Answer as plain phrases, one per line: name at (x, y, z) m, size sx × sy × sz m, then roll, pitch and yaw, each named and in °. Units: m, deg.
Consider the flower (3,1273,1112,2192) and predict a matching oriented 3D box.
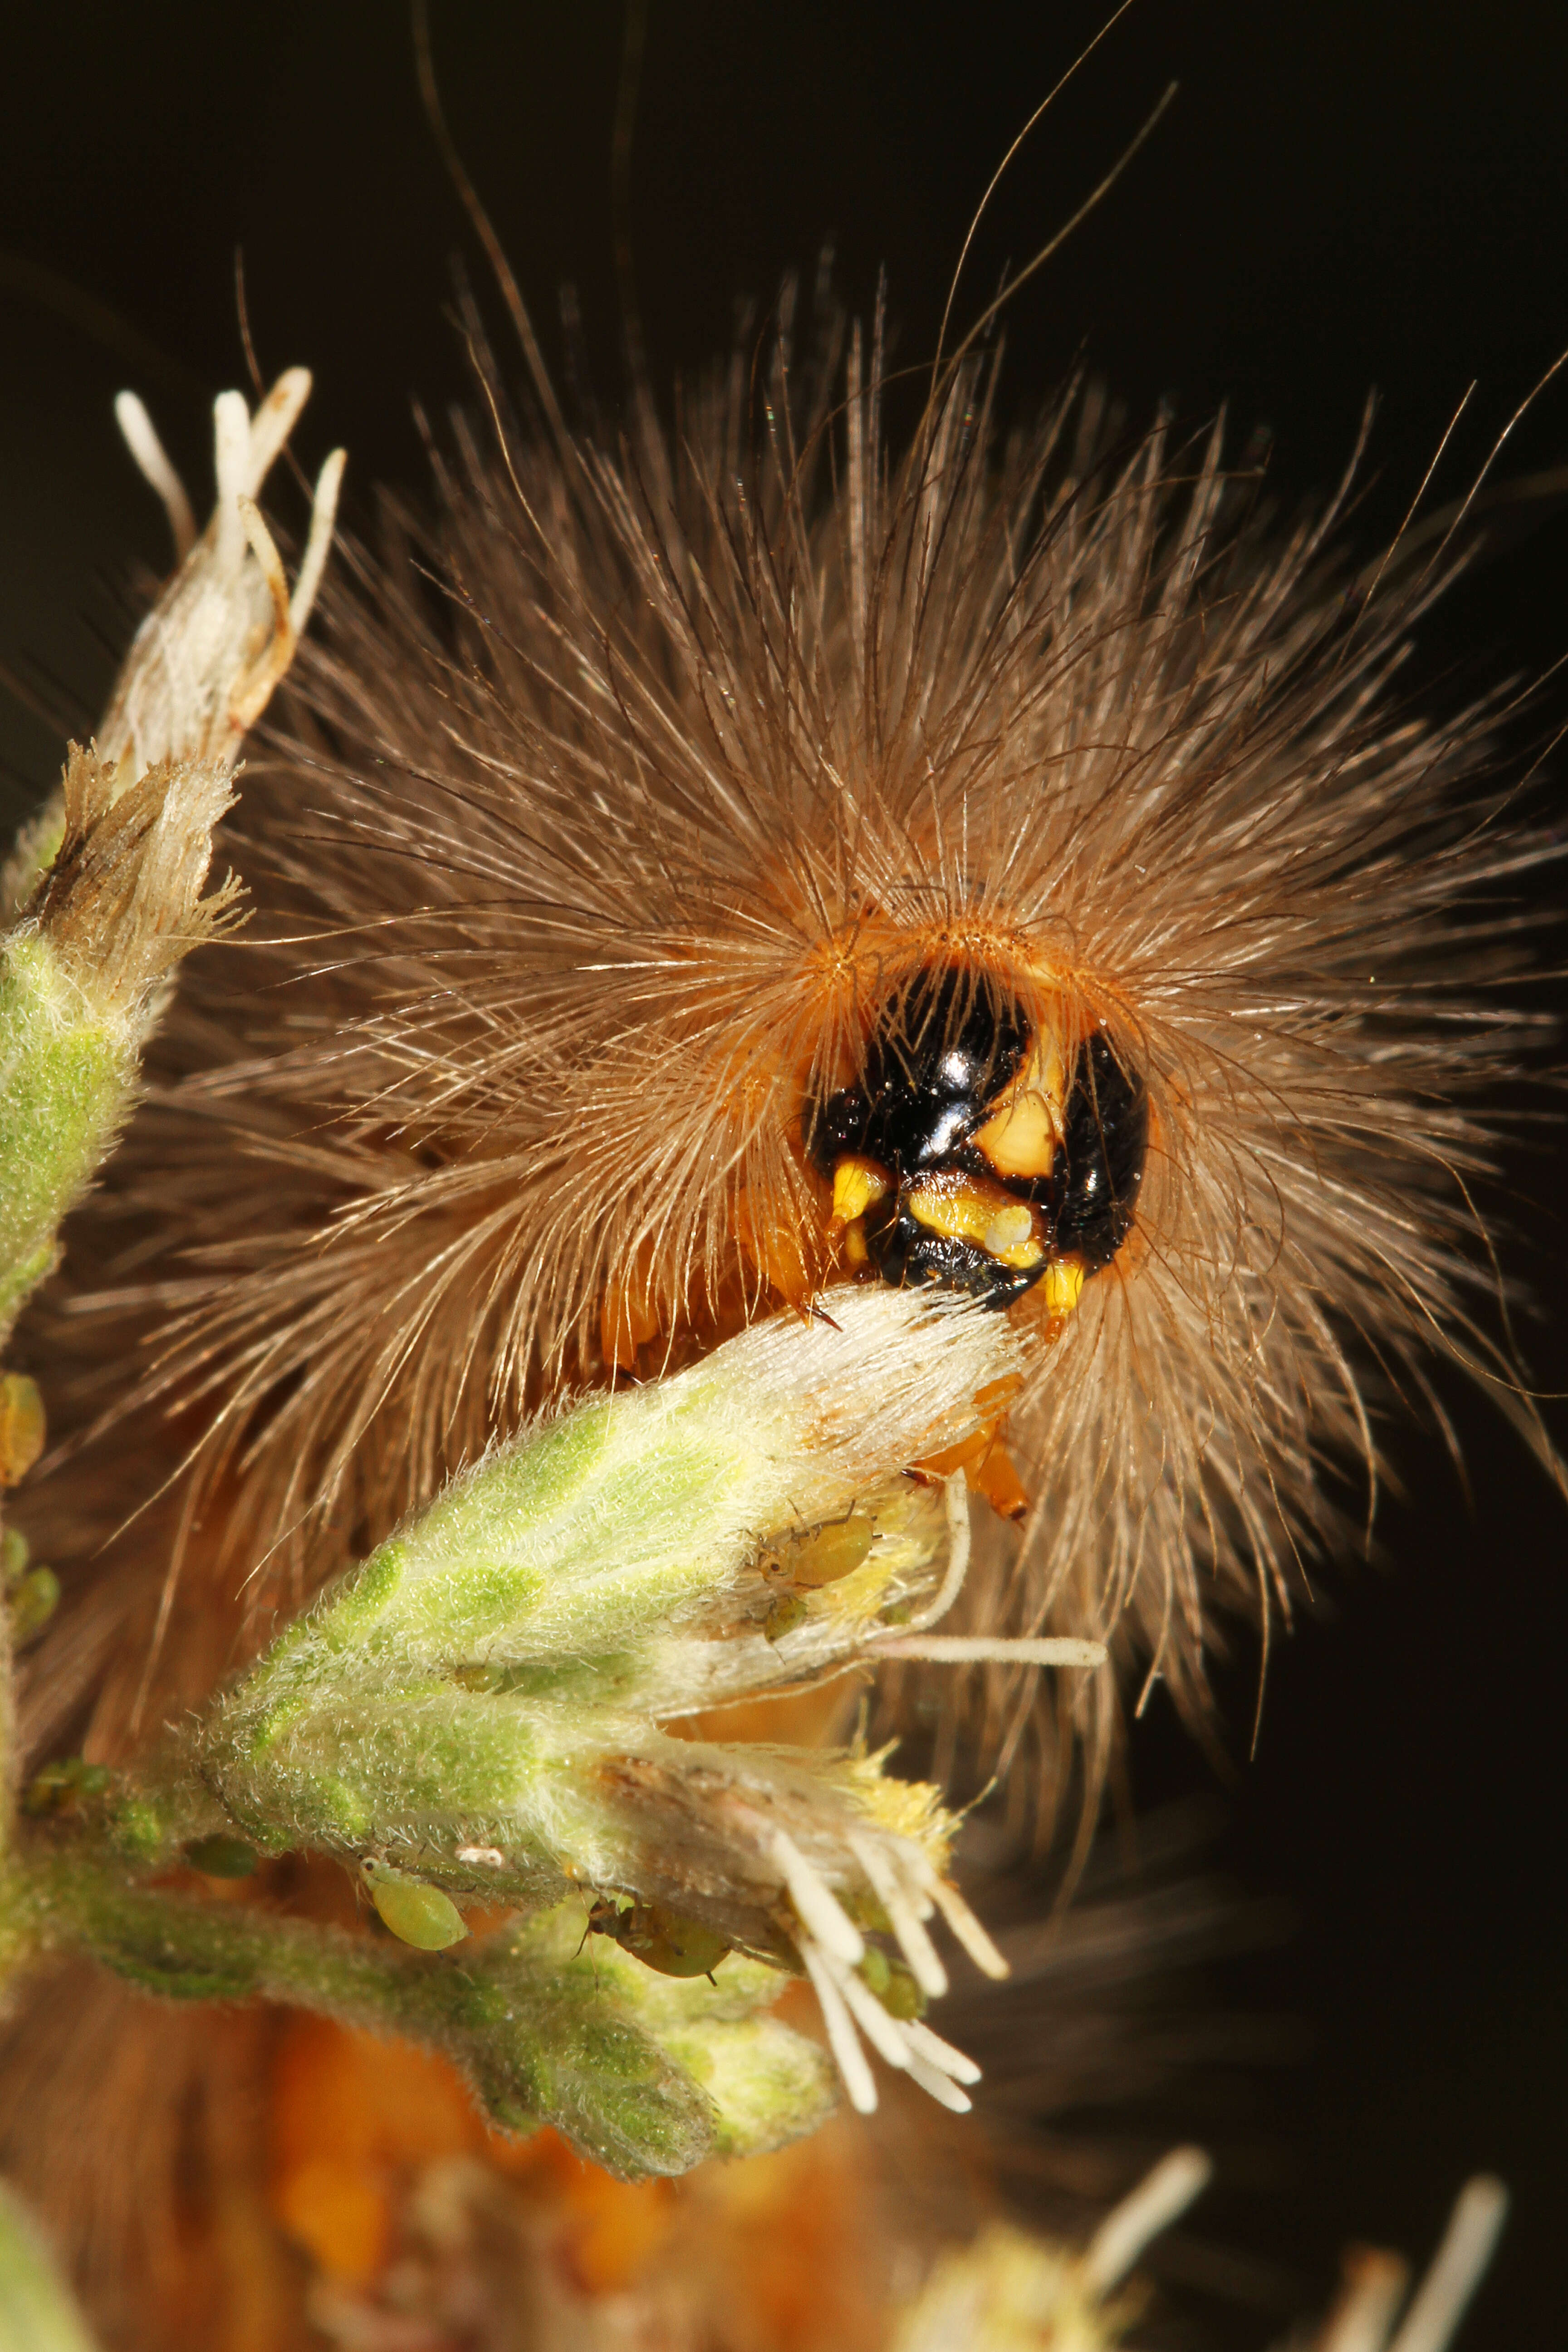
flower at (-0.049, 0.168, 0.647) m, size 0.358 × 0.221 × 0.123 m, roll -9°, pitch -42°, yaw 0°
